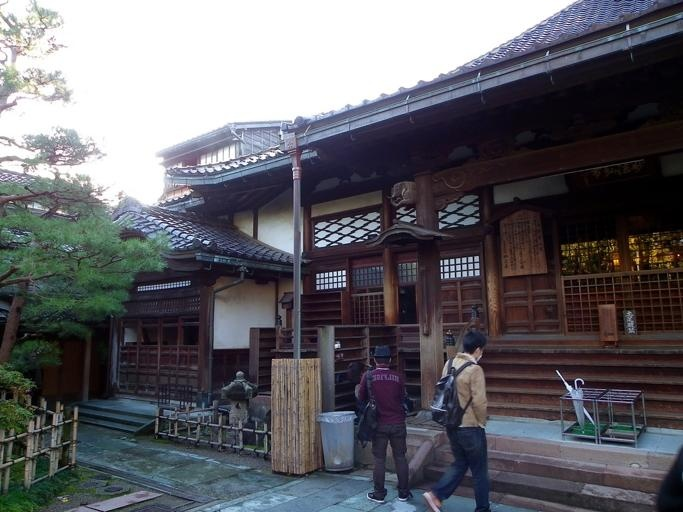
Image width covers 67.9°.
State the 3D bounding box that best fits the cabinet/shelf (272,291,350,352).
[{"bbox_3d":[-0.834,1.798,13.432,1.934,1.620,1.079,-5,-6,35],"label":"cabinet/shelf"}]

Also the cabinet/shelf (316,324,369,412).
[{"bbox_3d":[-0.011,2.223,9.850,0.572,1.742,1.894,-5,-9,26],"label":"cabinet/shelf"}]

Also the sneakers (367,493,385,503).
[{"bbox_3d":[0.517,3.665,7.744,0.111,0.100,0.257,11,-9,-40],"label":"sneakers"}]

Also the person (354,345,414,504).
[{"bbox_3d":[0.667,2.591,8.016,0.753,2.264,0.706,-2,-2,5],"label":"person"}]

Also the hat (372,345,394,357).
[{"bbox_3d":[0.657,1.570,8.394,0.285,0.178,0.194,3,-7,2],"label":"hat"}]
